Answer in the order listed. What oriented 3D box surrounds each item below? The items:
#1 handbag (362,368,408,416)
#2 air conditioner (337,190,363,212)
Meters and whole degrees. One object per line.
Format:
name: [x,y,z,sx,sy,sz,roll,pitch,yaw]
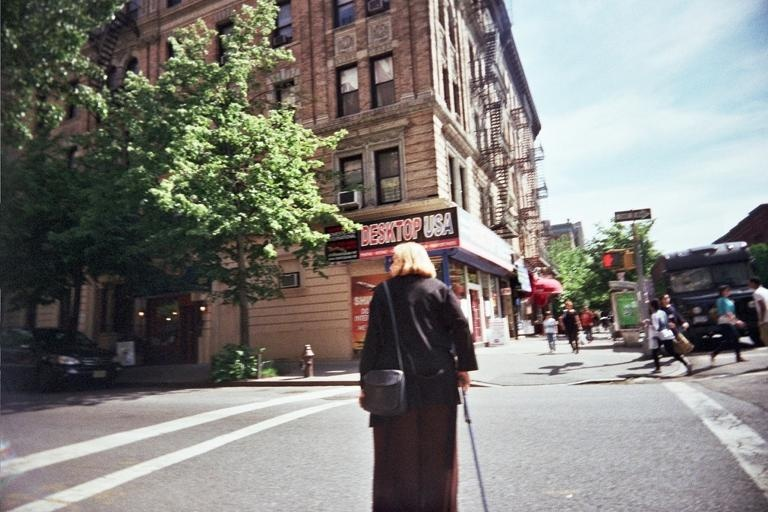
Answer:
handbag: [0.031,1.809,7.954,0.675,0.548,0.326,-2,-15,14]
air conditioner: [-1.427,-2.345,25.024,1.046,0.813,0.703,-1,-11,-3]
